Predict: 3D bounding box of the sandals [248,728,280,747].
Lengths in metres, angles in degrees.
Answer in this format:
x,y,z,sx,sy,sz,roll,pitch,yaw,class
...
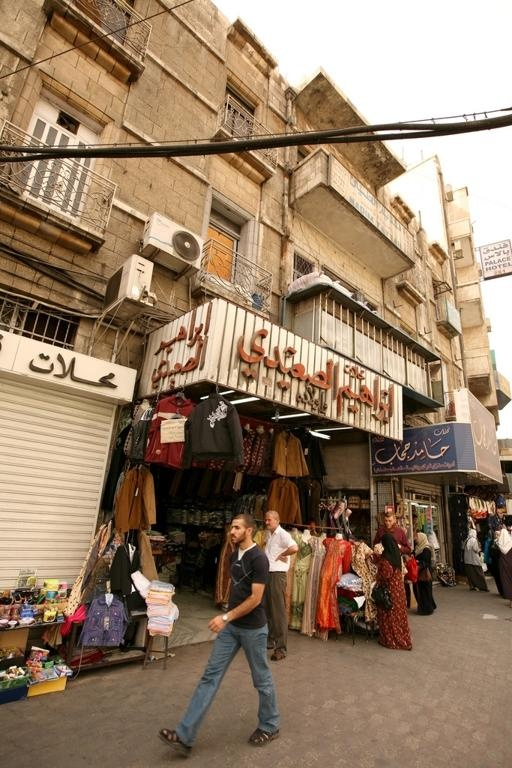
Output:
x,y,z,sx,sy,sz,roll,pitch,yaw,class
0.055,2.544,3.109,0.194,0.100,0.099,25,-24,-20,sandals

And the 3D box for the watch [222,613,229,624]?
x,y,z,sx,sy,sz,roll,pitch,yaw,class
-0.217,1.654,3.017,0.040,0.058,0.016,19,-56,-14,watch

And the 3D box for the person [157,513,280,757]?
x,y,z,sx,sy,sz,roll,pitch,yaw,class
-0.172,1.815,3.190,0.914,1.599,0.437,14,-17,-40,person

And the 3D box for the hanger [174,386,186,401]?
x,y,z,sx,sy,sz,roll,pitch,yaw,class
-1.090,0.142,6.121,0.127,0.149,0.085,17,-35,-25,hanger

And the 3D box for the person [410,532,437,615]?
x,y,z,sx,sy,sz,roll,pitch,yaw,class
3.640,4.178,9.430,0.391,1.657,0.936,-1,-14,21,person

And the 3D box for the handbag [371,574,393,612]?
x,y,z,sx,sy,sz,roll,pitch,yaw,class
1.904,3.285,6.584,0.293,0.414,0.493,-1,-14,17,handbag

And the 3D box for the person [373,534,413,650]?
x,y,z,sx,sy,sz,roll,pitch,yaw,class
2.081,3.240,6.743,0.524,1.518,0.687,-4,-18,25,person
